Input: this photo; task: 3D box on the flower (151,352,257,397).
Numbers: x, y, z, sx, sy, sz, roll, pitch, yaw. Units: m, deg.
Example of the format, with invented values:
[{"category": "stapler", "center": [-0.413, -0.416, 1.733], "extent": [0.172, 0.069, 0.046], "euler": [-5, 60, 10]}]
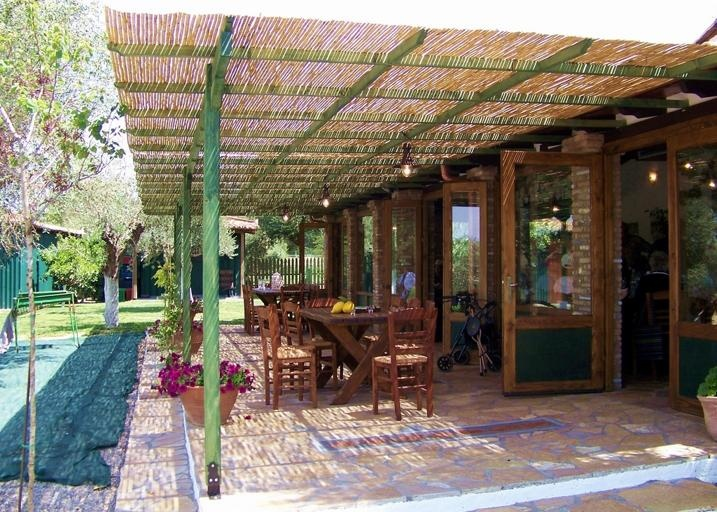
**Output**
[{"category": "flower", "center": [-1.705, 1.352, 5.812], "extent": [0.972, 0.489, 0.933], "euler": [3, -8, 3]}]

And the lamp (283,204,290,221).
[{"category": "lamp", "center": [-1.772, -1.045, 12.814], "extent": [0.131, 0.422, 0.808], "euler": [-1, -2, -11]}]

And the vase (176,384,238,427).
[{"category": "vase", "center": [-1.697, 1.655, 5.800], "extent": [0.483, 0.466, 0.660], "euler": [1, -3, -43]}]

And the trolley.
[{"category": "trolley", "center": [1.922, 1.320, 8.879], "extent": [1.007, 1.117, 0.783], "euler": [-4, -9, 27]}]

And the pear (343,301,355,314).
[{"category": "pear", "center": [-0.129, 0.723, 7.245], "extent": [0.136, 0.126, 0.172], "euler": [1, -20, -29]}]

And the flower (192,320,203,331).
[{"category": "flower", "center": [-3.081, 1.345, 9.974], "extent": [0.160, 0.165, 0.353], "euler": [-1, -2, -12]}]

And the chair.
[{"category": "chair", "center": [0.027, 1.281, 7.092], "extent": [1.534, 1.297, 2.269], "euler": [0, -2, -13]}]

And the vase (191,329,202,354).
[{"category": "vase", "center": [-3.104, 1.639, 10.012], "extent": [0.169, 0.494, 0.407], "euler": [0, -2, -21]}]
